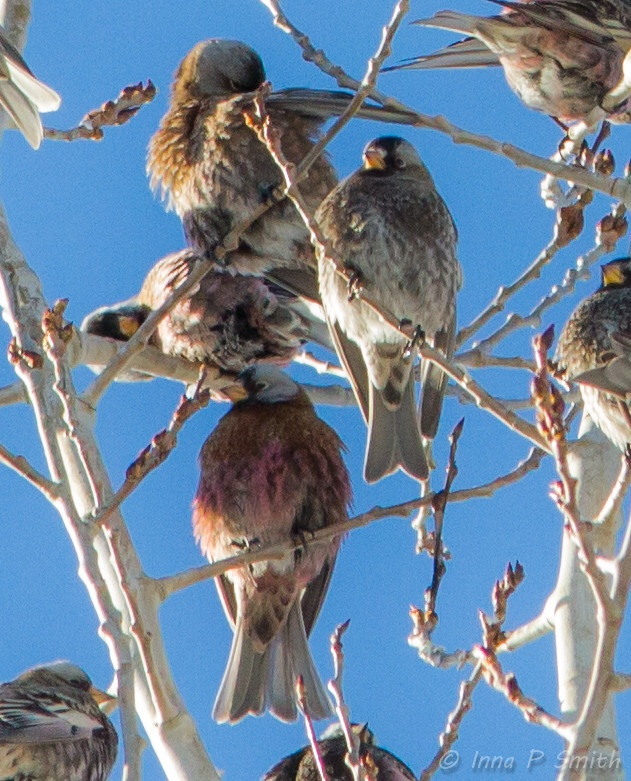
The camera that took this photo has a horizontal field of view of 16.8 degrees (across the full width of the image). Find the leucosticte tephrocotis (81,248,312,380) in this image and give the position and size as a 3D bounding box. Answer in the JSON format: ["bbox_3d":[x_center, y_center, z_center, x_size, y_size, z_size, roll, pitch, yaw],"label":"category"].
[{"bbox_3d":[-0.371,-0.281,8.204,0.889,0.418,0.414,-6,-70,17],"label":"leucosticte tephrocotis"}]

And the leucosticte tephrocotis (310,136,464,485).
[{"bbox_3d":[0.287,-0.328,7.413,0.653,1.375,0.531,29,-58,-20],"label":"leucosticte tephrocotis"}]

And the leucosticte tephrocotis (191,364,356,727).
[{"bbox_3d":[-0.177,0.510,7.797,0.425,1.436,0.545,-1,-10,-1],"label":"leucosticte tephrocotis"}]
